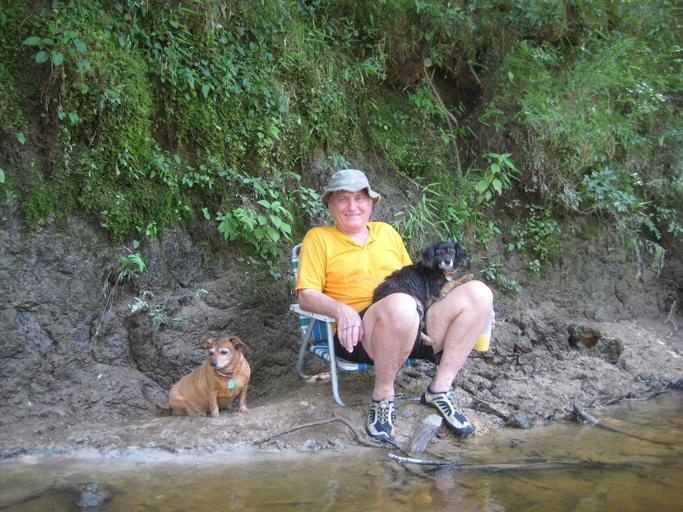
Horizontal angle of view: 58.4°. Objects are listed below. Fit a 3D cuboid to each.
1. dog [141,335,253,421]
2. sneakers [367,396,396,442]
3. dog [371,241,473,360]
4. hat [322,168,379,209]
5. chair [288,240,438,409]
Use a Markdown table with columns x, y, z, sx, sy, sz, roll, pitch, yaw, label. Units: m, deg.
| x | y | z | sx | sy | sz | roll | pitch | yaw | label |
| --- | --- | --- | --- | --- | --- | --- | --- | --- | --- |
| -1.276 | 1.082 | 5.650 | 0.575 | 0.633 | 0.739 | 5 | -4 | -44 | dog |
| 0.339 | 1.339 | 5.125 | 0.244 | 0.256 | 0.547 | 7 | 19 | 2 | sneakers |
| 0.733 | 0.300 | 5.506 | 0.645 | 0.775 | 0.441 | -7 | 2 | 10 | dog |
| 0.037 | -0.638 | 5.509 | 0.461 | 0.199 | 0.416 | 2 | -8 | 8 | hat |
| 0.057 | 0.652 | 5.696 | 0.777 | 1.315 | 1.094 | 1 | 7 | -39 | chair |
